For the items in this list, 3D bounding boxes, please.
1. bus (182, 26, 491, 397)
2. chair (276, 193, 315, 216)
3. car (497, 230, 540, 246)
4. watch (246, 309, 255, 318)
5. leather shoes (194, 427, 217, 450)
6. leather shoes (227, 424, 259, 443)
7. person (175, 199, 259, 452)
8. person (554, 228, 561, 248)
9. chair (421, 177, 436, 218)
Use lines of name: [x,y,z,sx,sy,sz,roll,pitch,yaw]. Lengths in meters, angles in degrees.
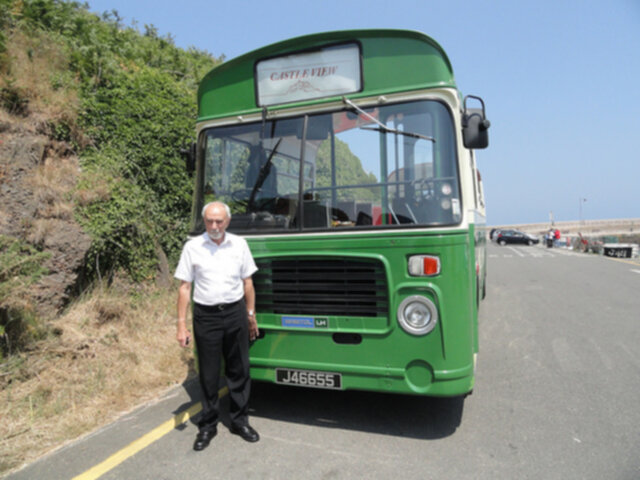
bus: [1.045,-0.665,8.915,3.666,4.509,8.411,-1,5,20]
chair: [-0.393,-0.488,5.196,0.342,0.300,0.130,10,12,30]
car: [24.007,-0.274,53.453,3.724,1.803,2.319,-4,0,25]
watch: [-0.813,0.854,4.801,0.064,0.075,0.067,4,-4,5]
leather shoes: [-1.297,2.252,4.655,0.134,0.155,0.249,1,4,24]
leather shoes: [-0.890,2.232,4.790,0.349,0.152,0.135,2,0,39]
person: [-1.156,0.948,4.686,0.854,2.747,0.337,-1,3,-12]
person: [25.515,-0.223,47.123,0.445,2.029,1.105,1,4,19]
chair: [1.120,-0.499,4.617,0.175,0.377,0.140,-3,2,-14]
